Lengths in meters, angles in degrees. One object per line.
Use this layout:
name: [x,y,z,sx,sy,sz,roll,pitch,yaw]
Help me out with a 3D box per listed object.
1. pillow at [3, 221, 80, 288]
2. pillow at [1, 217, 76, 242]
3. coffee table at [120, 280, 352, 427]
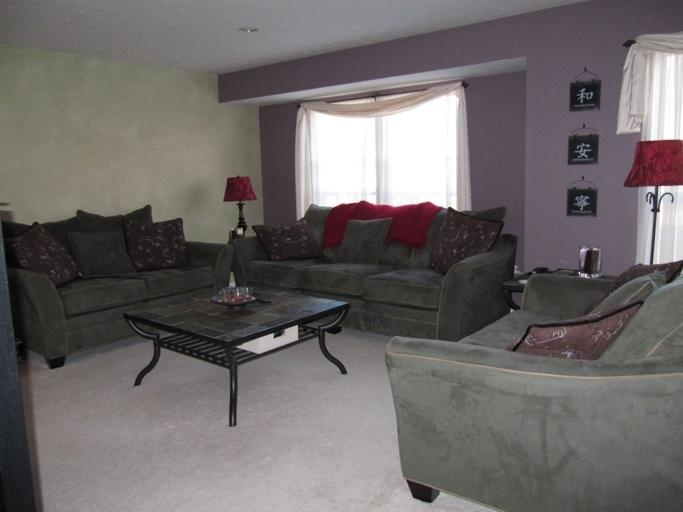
pillow: [-2.423,0.012,4.331,0.341,0.448,0.386,2,7,18]
pillow: [-2.531,-0.218,4.728,0.337,0.100,0.316,-4,33,-46]
coffee table: [-0.705,0.613,3.746,1.190,0.658,1.020,4,7,35]
